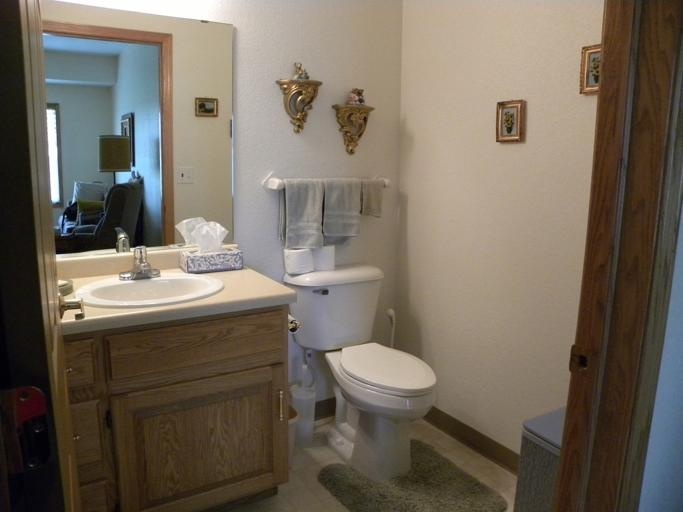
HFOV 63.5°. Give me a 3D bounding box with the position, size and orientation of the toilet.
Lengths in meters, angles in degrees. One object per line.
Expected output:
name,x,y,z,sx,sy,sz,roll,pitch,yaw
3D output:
toilet,0.108,0.540,2.609,0.500,0.858,0.775,-6,14,-29

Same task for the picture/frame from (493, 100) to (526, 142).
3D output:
picture/frame,0.737,-0.587,2.390,0.041,0.254,0.190,0,2,-28

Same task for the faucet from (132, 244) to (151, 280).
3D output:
faucet,-0.818,0.023,2.242,0.060,0.124,0.167,0,14,-17

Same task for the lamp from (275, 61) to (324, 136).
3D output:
lamp,-0.198,-0.746,2.615,0.200,0.325,0.104,-10,15,-32

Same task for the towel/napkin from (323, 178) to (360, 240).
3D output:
towel/napkin,0.009,-0.229,2.671,0.196,0.274,0.082,-7,11,-26

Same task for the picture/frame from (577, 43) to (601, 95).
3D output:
picture/frame,0.955,-0.701,2.072,0.125,0.162,0.017,-10,20,-16

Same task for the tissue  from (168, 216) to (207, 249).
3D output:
tissue ,-0.679,-0.103,2.411,0.122,0.128,0.037,-6,13,-30

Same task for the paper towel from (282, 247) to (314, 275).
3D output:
paper towel,-0.201,0.027,2.632,0.122,0.115,0.122,-3,9,-5

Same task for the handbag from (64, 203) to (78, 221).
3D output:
handbag,-1.068,-0.174,2.174,0.021,0.062,0.043,10,13,27

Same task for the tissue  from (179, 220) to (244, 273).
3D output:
tissue ,-0.577,-0.040,2.418,0.234,0.218,0.121,-4,6,-35

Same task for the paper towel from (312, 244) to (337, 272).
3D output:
paper towel,-0.084,0.010,2.682,0.116,0.122,0.092,-2,12,-11

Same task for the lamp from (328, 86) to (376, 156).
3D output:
lamp,0.088,-0.677,2.801,0.250,0.324,0.110,-10,15,-30
